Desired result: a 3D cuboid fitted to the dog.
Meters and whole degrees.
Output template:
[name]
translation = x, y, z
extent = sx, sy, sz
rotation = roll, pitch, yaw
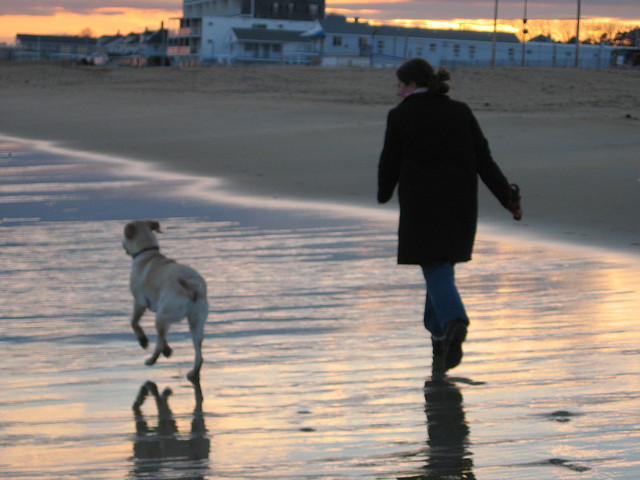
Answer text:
[dog]
translation = -2.070, 0.830, 22.392
extent = 0.835, 2.004, 1.687
rotation = -7, 15, -30
